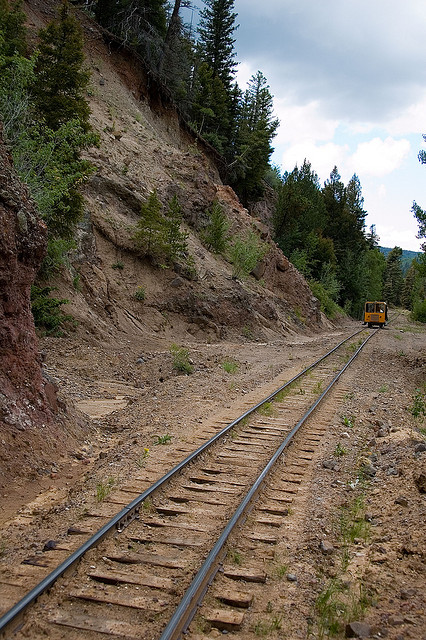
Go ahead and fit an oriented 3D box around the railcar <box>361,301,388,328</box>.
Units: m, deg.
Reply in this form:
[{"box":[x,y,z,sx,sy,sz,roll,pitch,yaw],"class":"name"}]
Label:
[{"box":[14.496,-0.538,43.817,1.417,1.657,2.544,1,4,16],"class":"railcar"}]
